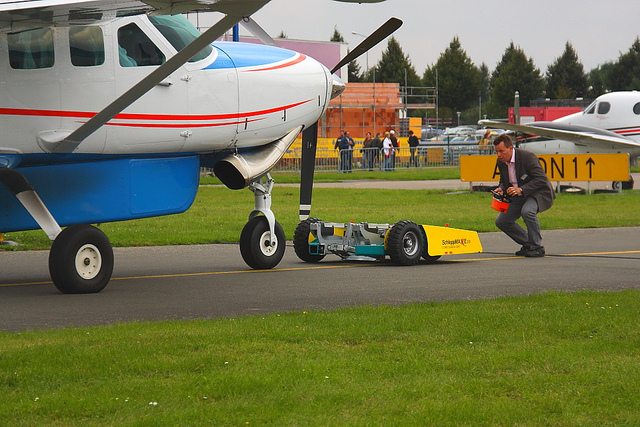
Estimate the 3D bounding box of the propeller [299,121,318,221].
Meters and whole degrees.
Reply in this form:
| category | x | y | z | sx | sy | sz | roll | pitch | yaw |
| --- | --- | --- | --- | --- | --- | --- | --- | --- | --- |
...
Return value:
| category | x | y | z | sx | sy | sz | roll | pitch | yaw |
| --- | --- | --- | --- | --- | --- | --- | --- | --- | --- |
| propeller | -0.211 | -0.709 | 15.624 | 0.301 | 1.742 | 0.724 | -1 | 14 | 0 |

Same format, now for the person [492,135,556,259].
| category | x | y | z | sx | sy | sz | roll | pitch | yaw |
| --- | --- | --- | --- | --- | --- | --- | --- | --- | --- |
| person | 3.513 | -0.301 | 15.771 | 1.037 | 2.034 | 0.705 | 4 | 15 | 16 |

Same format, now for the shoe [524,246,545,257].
| category | x | y | z | sx | sy | sz | roll | pitch | yaw |
| --- | --- | --- | --- | --- | --- | --- | --- | --- | --- |
| shoe | 3.748 | 0.666 | 15.730 | 0.418 | 0.168 | 0.136 | 0 | 1 | -12 |

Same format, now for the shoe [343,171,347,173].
| category | x | y | z | sx | sy | sz | roll | pitch | yaw |
| --- | --- | --- | --- | --- | --- | --- | --- | --- | --- |
| shoe | 1.035 | -1.757 | 38.548 | 0.180 | 0.087 | 0.116 | 4 | 3 | 25 |

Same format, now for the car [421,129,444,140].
| category | x | y | z | sx | sy | sz | roll | pitch | yaw |
| --- | --- | --- | --- | --- | --- | --- | --- | --- | --- |
| car | 9.803 | -7.158 | 81.365 | 2.216 | 0.923 | 3.678 | 0 | 3 | 12 |
